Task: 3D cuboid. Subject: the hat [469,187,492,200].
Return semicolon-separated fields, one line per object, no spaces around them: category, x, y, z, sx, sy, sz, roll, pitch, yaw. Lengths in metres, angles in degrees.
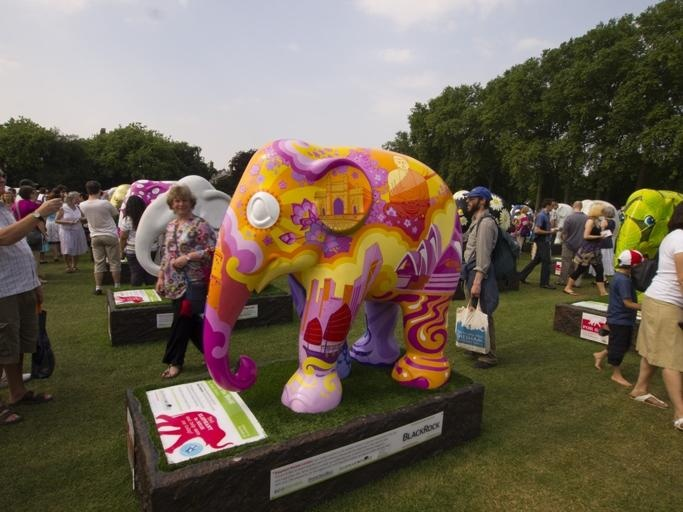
hat;1.510;-0.670;4.753;0.200;0.124;0.153;5;4;-4

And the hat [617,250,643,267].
hat;2.995;-0.002;4.545;0.218;0.132;0.147;-23;22;-23

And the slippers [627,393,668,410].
slippers;3.023;1.387;4.283;0.257;0.097;0.126;3;8;38

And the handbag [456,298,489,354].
handbag;1.471;0.753;4.923;0.153;0.628;0.402;-16;17;-41

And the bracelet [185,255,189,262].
bracelet;-1.522;0.022;4.302;0.050;0.038;0.070;0;-6;-13

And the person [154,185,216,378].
person;-1.589;0.288;4.478;0.603;2.003;0.324;-4;13;-22

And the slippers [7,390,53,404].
slippers;-2.882;1.334;4.093;0.224;0.103;0.122;-2;4;-21

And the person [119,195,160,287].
person;-3.407;-0.224;7.253;0.467;1.508;0.776;-6;14;-28

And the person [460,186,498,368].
person;1.590;0.254;4.950;0.443;2.033;0.493;5;13;20
